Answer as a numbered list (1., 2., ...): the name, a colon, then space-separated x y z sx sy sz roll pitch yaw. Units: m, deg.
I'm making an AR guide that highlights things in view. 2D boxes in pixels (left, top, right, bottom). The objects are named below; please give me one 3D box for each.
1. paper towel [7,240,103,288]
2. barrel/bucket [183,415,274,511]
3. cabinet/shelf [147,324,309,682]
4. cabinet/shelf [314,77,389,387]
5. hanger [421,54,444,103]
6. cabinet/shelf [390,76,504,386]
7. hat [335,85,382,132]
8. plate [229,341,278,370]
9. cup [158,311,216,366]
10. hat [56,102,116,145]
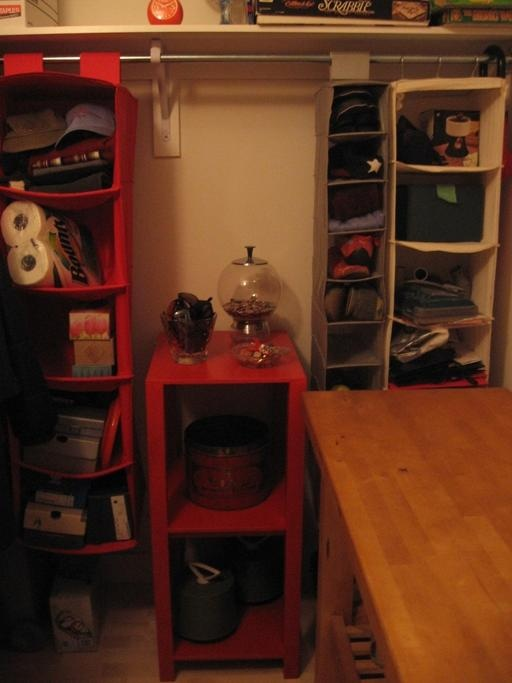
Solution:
1. paper towel: -0.534 -0.205 1.609 0.076 0.105 0.181 -25 -17 37
2. barrel/bucket: -0.078 0.354 1.784 0.231 0.173 0.245 -1 21 0
3. cabinet/shelf: -0.097 0.498 1.777 0.481 0.967 0.757 1 13 4
4. cabinet/shelf: 0.279 -0.279 1.785 0.205 0.911 0.334 1 13 3
5. hanger: 0.526 -0.805 1.785 0.081 0.106 0.102 0 4 4
6. cabinet/shelf: 0.574 -0.325 1.777 0.345 0.857 0.407 4 14 17
7. hat: 0.278 -0.646 1.640 0.142 0.129 0.093 -1 13 -5
8. plate: 0.009 0.038 1.616 0.103 0.048 0.113 5 15 19
9. cup: -0.185 -0.011 1.609 0.143 0.120 0.138 -1 7 0
10. hat: -0.463 -0.588 1.595 0.156 0.111 0.136 -2 14 -11
